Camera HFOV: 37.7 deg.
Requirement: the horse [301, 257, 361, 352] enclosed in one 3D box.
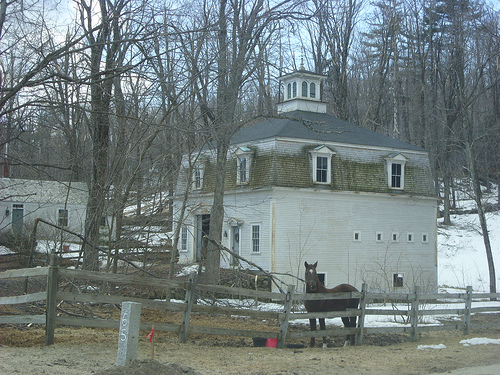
[{"bbox_3d":[2.902,4.247,26.726,1.953,3.023,4.836,0,-7,5],"label":"horse"}]
